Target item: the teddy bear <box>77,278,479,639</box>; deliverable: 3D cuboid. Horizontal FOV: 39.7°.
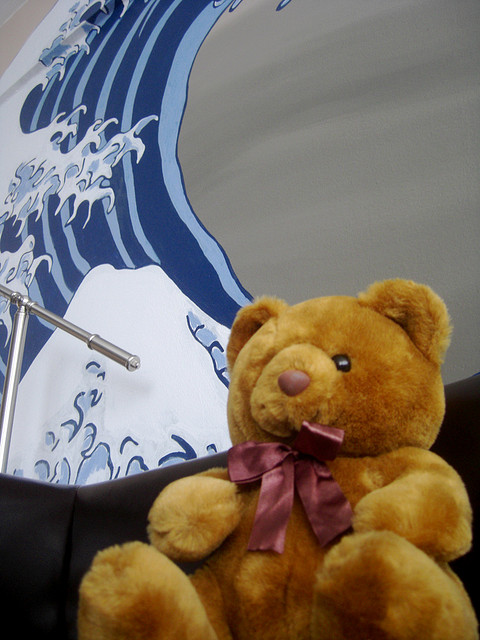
[{"bbox_3d":[0.053,0.186,0.864,0.395,0.380,0.490,-18,54,36],"label":"teddy bear"}]
